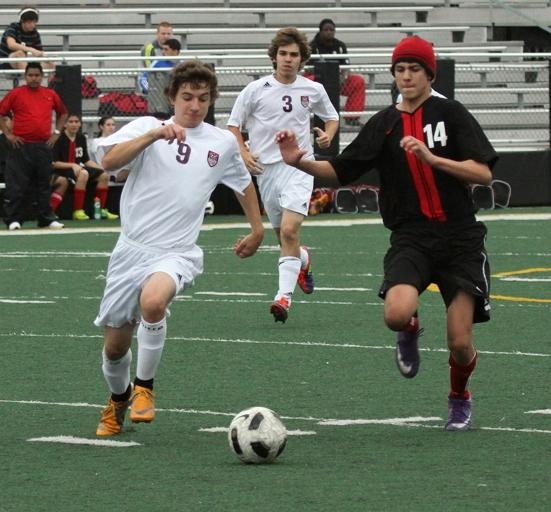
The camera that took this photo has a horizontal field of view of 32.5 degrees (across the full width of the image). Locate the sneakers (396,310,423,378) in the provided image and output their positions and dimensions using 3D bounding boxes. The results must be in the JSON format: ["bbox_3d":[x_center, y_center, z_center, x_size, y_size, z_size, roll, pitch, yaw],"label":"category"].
[{"bbox_3d":[0.667,0.453,4.935,0.138,0.320,0.155,2,27,4],"label":"sneakers"}]

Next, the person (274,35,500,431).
[{"bbox_3d":[0.693,-0.157,4.776,0.668,1.880,0.982,-10,15,-36],"label":"person"}]

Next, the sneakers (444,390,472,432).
[{"bbox_3d":[0.895,0.748,4.605,0.124,0.155,0.223,1,11,10],"label":"sneakers"}]

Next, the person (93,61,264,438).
[{"bbox_3d":[-0.526,-0.086,4.794,0.493,1.754,1.252,2,12,16],"label":"person"}]

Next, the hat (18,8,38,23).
[{"bbox_3d":[-4.360,-4.245,16.694,0.238,0.228,0.222,5,4,-19],"label":"hat"}]

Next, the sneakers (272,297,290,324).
[{"bbox_3d":[0.037,0.427,7.330,0.095,0.237,0.142,36,72,20],"label":"sneakers"}]

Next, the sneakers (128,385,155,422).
[{"bbox_3d":[-0.627,0.709,4.416,0.112,0.181,0.161,-3,11,-9],"label":"sneakers"}]

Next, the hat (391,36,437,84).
[{"bbox_3d":[0.702,-1.002,4.855,0.239,0.189,0.243,3,-4,10],"label":"hat"}]

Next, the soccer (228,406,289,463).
[{"bbox_3d":[-0.093,0.755,4.092,0.277,0.217,0.220,2,50,-13],"label":"soccer"}]
